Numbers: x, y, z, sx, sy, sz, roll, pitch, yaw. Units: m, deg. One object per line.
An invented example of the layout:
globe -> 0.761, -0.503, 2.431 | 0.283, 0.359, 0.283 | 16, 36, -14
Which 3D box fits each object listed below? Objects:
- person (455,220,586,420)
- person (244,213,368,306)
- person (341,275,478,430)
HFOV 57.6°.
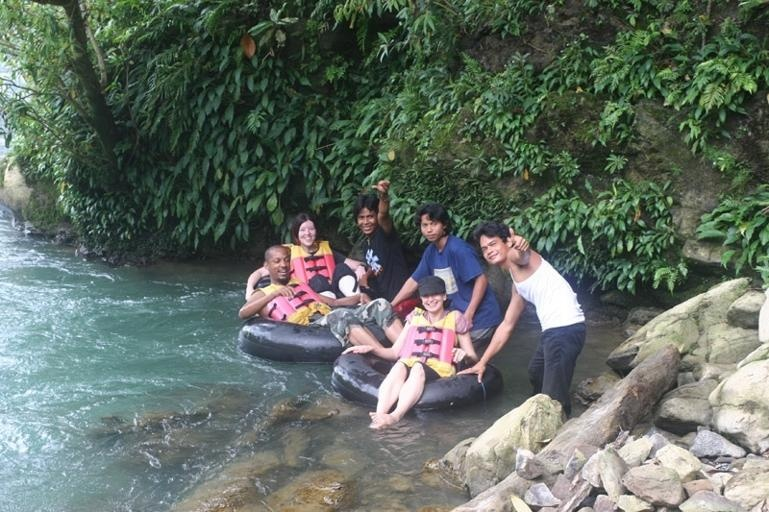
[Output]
person -> 1.748, 0.722, 8.401 | 1.334, 2.101, 0.602 | 15, 15, 35
person -> -1.165, 0.012, 11.115 | 1.278, 0.998, 1.769 | -19, 9, -19
person -> 0.379, 1.106, 8.978 | 1.269, 1.188, 1.798 | -1, 15, 35
